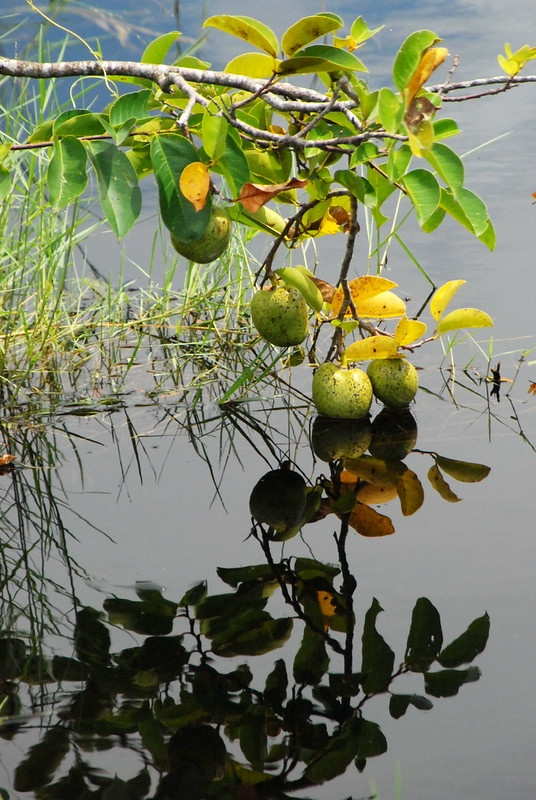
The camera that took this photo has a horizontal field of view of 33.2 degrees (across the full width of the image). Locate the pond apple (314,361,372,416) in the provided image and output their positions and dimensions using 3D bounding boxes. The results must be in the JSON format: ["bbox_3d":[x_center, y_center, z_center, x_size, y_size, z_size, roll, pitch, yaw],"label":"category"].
[{"bbox_3d":[0.127,-0.023,1.468,0.094,0.080,0.090,-9,15,-42],"label":"pond apple"}]

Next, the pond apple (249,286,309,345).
[{"bbox_3d":[0.017,-0.122,1.357,0.083,0.100,0.079,-2,16,-2],"label":"pond apple"}]
